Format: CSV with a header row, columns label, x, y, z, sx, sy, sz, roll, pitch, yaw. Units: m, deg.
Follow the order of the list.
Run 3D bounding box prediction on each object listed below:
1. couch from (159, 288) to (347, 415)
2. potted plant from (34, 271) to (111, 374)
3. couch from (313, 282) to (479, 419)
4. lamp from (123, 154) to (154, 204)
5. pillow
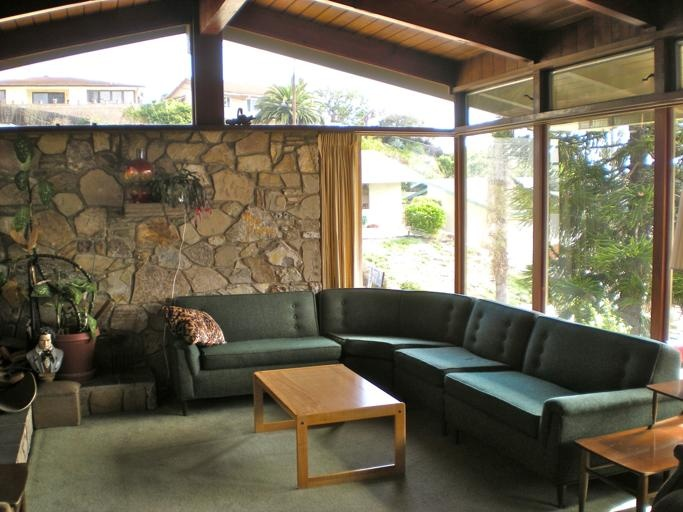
label,x,y,z,sx,sy,sz,roll,pitch,yaw
couch,-0.853,0.865,5.484,1.600,0.885,0.865,-1,7,-23
potted plant,-2.622,0.693,5.313,0.596,0.948,0.588,5,4,30
couch,0.477,0.886,5.623,1.085,0.780,1.193,-1,1,-30
lamp,-2.044,-0.797,5.573,0.270,0.522,0.220,-5,11,-22
pillow,-1.374,0.637,5.125,0.430,0.124,0.433,11,8,-11
